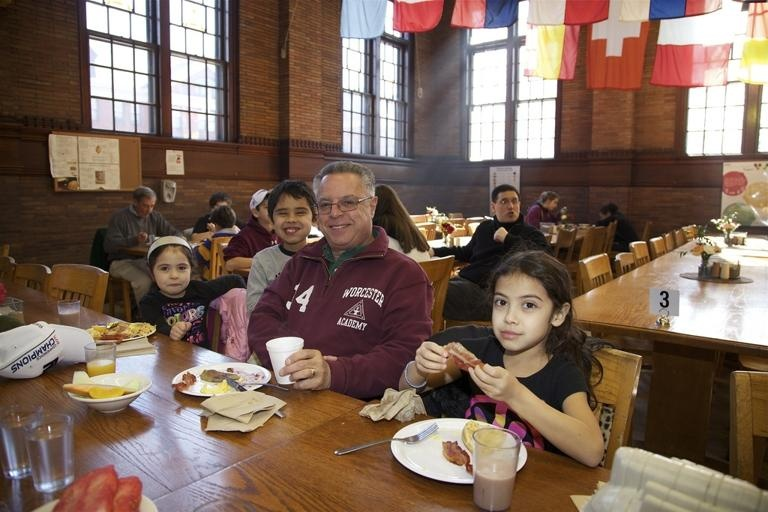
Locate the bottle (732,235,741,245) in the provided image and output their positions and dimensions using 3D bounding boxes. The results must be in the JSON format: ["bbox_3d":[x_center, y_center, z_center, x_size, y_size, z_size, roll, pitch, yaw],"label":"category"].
[{"bbox_3d":[4.349,-0.183,6.189,0.106,0.077,0.105,0,13,0],"label":"bottle"}]

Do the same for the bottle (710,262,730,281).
[{"bbox_3d":[2.628,0.125,3.928,0.146,0.136,0.146,0,0,20],"label":"bottle"}]

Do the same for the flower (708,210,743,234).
[{"bbox_3d":[5.830,-0.567,8.559,0.668,0.376,0.654,1,5,-2],"label":"flower"}]

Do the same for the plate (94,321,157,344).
[{"bbox_3d":[-1.208,0.354,2.316,0.141,0.024,0.139,6,9,1],"label":"plate"}]

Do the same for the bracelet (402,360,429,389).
[{"bbox_3d":[0.116,0.457,1.992,0.107,0.086,0.096,-2,5,-42],"label":"bracelet"}]

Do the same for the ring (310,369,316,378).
[{"bbox_3d":[-0.264,0.447,1.897,0.018,0.021,0.023,1,-7,7],"label":"ring"}]

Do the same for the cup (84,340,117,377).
[{"bbox_3d":[-1.062,0.384,1.894,0.120,0.131,0.118,-1,-5,0],"label":"cup"}]

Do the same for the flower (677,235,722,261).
[{"bbox_3d":[3.130,-0.067,4.982,0.385,0.182,0.383,6,-4,-2],"label":"flower"}]

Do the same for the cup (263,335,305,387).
[{"bbox_3d":[-0.373,0.377,1.872,0.161,0.156,0.164,-1,3,0],"label":"cup"}]

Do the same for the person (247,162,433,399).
[{"bbox_3d":[-0.256,0.099,2.357,0.905,1.027,0.747,1,0,27],"label":"person"}]
